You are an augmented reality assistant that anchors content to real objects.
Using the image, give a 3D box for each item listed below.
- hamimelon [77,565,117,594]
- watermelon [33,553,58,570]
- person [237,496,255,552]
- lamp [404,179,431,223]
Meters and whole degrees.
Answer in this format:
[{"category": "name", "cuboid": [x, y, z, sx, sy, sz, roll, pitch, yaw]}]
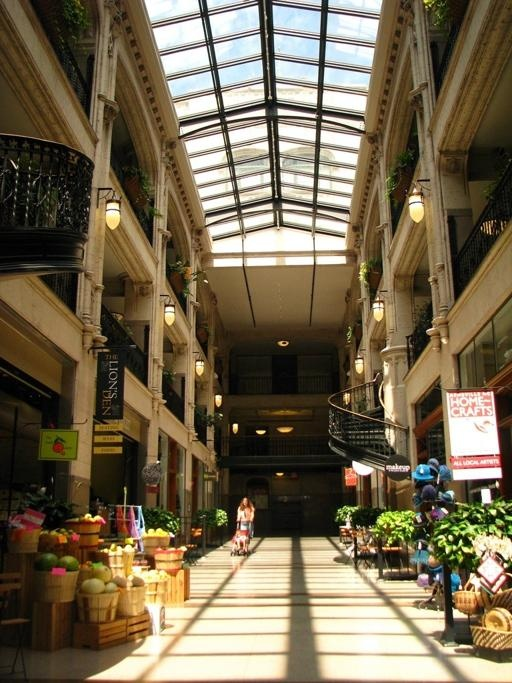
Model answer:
[{"category": "hamimelon", "cuboid": [-1.298, 1.917, 4.235, 0.259, 0.189, 0.241, -6, -15, 10]}, {"category": "watermelon", "cuboid": [-1.643, 1.723, 4.113, 0.169, 0.123, 0.095, -1, -20, 0]}, {"category": "person", "cuboid": [-0.297, 5.083, 14.674, 0.493, 1.365, 0.482, 5, -19, -5]}, {"category": "lamp", "cuboid": [2.766, -2.420, 8.873, 0.407, 0.793, 0.244, -3, 0, 31]}]
